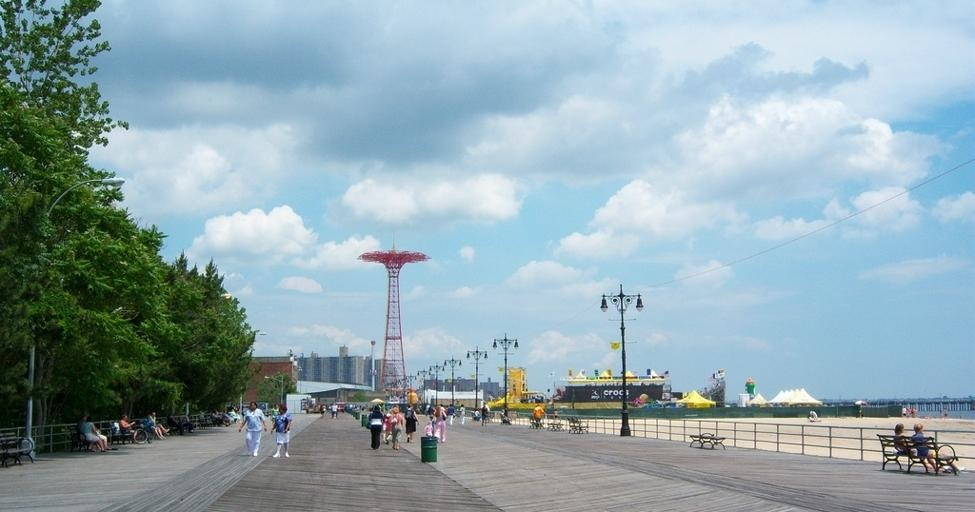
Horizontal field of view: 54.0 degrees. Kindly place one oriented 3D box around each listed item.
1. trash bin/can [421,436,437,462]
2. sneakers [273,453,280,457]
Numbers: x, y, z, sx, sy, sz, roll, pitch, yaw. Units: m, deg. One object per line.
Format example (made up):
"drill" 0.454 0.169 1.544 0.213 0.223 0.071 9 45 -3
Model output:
"trash bin/can" -3.538 11.779 58.263 0.879 1.522 0.818 -1 -15 -6
"sneakers" -13.060 12.395 59.440 0.384 0.143 0.197 3 -9 -7
